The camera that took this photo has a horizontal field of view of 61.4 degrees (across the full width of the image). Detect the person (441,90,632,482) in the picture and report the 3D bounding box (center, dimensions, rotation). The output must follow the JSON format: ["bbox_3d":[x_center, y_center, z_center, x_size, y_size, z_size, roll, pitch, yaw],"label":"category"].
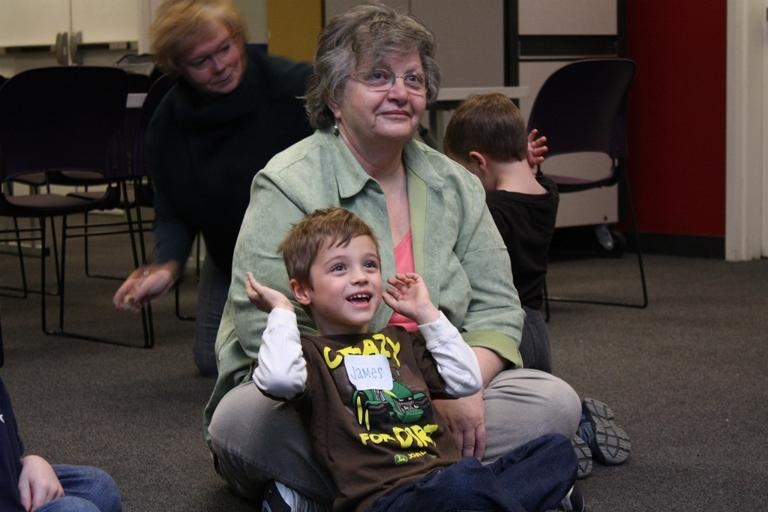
[{"bbox_3d":[0.491,0.117,2.645,0.935,1.533,0.754,10,24,21],"label":"person"}]

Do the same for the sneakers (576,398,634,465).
[{"bbox_3d":[0.668,0.550,2.060,0.109,0.095,0.231,-4,47,-32],"label":"sneakers"}]
